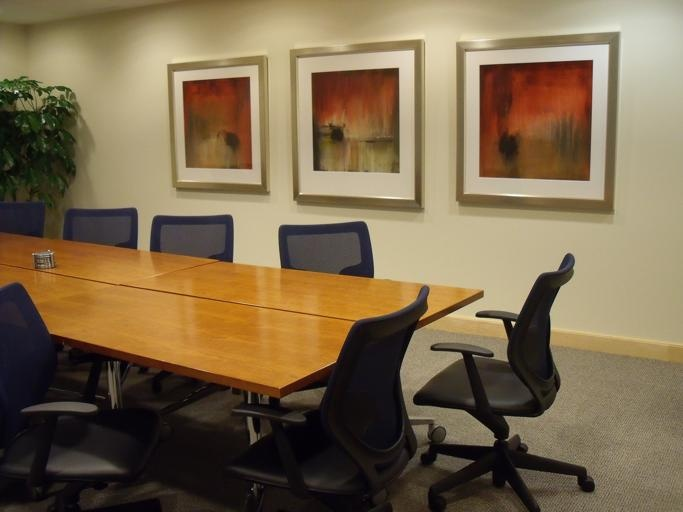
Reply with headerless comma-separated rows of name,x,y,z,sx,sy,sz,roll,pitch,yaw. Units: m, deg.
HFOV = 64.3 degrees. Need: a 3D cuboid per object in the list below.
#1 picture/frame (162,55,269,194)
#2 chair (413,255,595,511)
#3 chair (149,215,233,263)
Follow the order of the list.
picture/frame,-1.294,-1.441,5.814,1.296,1.579,0.071,4,9,21
chair,0.910,0.546,3.282,1.102,1.648,1.118,6,13,27
chair,-1.159,-0.209,4.396,0.398,0.647,0.477,2,6,10
